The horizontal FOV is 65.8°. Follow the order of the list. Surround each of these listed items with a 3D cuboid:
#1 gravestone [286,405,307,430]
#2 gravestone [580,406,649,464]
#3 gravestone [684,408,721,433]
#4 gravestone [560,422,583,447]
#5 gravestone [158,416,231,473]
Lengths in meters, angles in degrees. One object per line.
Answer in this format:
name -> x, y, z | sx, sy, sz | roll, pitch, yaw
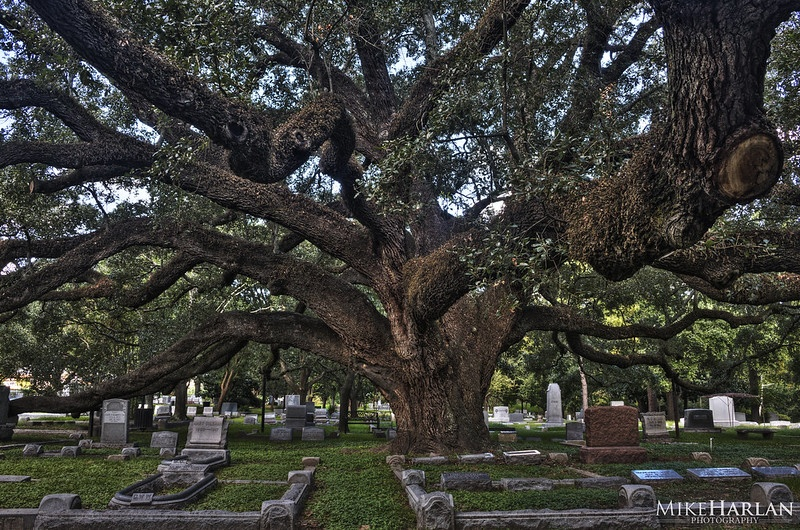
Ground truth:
gravestone -> -4.427, 6.526, 26.402 | 1.257, 1.165, 0.901 | 0, -10, -2
gravestone -> 5.851, 4.653, 17.036 | 1.806, 1.488, 1.031 | 1, -6, -3
gravestone -> 13.850, 7.191, 28.542 | 1.350, 1.025, 0.717 | 1, -18, 0
gravestone -> 6.581, 6.363, 23.129 | 1.004, 0.925, 0.743 | 1, -10, -1
gravestone -> -5.071, 4.460, 15.758 | 0.971, 0.830, 1.382 | -3, -13, 9
